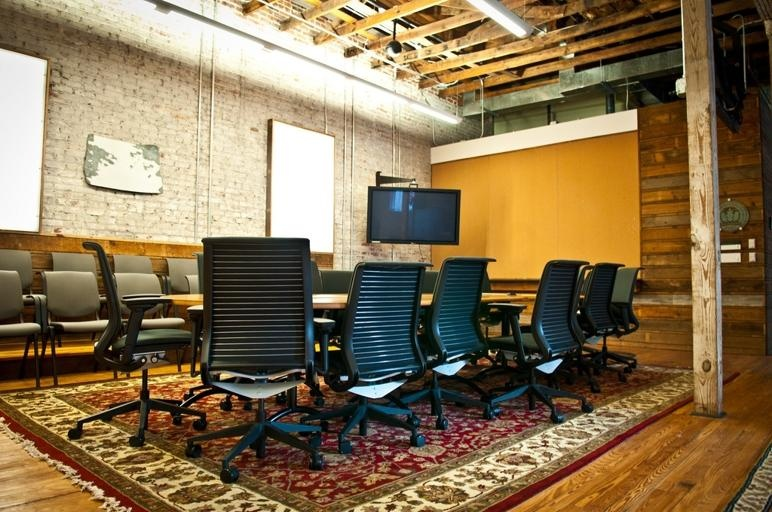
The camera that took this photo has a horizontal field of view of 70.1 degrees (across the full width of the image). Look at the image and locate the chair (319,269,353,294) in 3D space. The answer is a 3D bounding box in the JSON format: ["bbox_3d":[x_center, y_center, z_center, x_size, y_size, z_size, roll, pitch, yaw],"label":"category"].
[{"bbox_3d":[-0.600,0.326,6.762,0.589,0.320,0.291,2,-6,-31],"label":"chair"}]

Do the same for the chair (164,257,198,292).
[{"bbox_3d":[-2.828,0.267,7.568,0.541,0.507,0.483,2,-6,-31],"label":"chair"}]

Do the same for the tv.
[{"bbox_3d":[0.496,-0.719,9.762,1.634,1.018,0.204,-1,10,-6],"label":"tv"}]

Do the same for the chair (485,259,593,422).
[{"bbox_3d":[1.431,0.775,5.388,1.105,1.368,1.139,-5,-8,40],"label":"chair"}]

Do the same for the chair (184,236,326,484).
[{"bbox_3d":[-0.973,0.724,4.160,0.974,1.755,0.676,-1,10,-7],"label":"chair"}]
